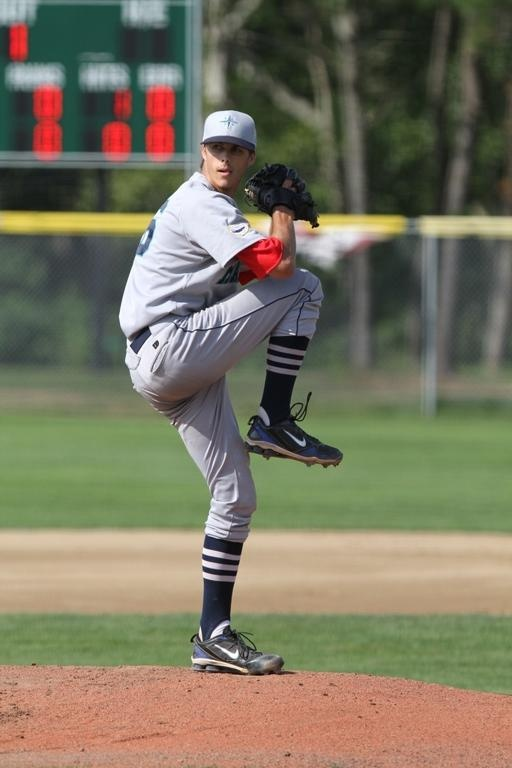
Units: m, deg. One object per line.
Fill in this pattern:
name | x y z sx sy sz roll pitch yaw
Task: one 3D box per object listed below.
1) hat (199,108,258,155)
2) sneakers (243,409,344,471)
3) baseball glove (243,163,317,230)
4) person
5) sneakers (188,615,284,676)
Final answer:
hat | -0.100 -0.879 4.813 0.189 0.146 0.203 -7 0 0
sneakers | 0.119 0.207 4.890 0.395 0.188 0.136 8 3 -7
baseball glove | 0.083 -0.649 4.838 0.218 0.093 0.169 13 2 20
person | -0.082 0.040 4.742 0.718 1.920 0.416 -7 1 3
sneakers | -0.087 0.947 4.880 0.394 0.178 0.133 -1 -3 17
